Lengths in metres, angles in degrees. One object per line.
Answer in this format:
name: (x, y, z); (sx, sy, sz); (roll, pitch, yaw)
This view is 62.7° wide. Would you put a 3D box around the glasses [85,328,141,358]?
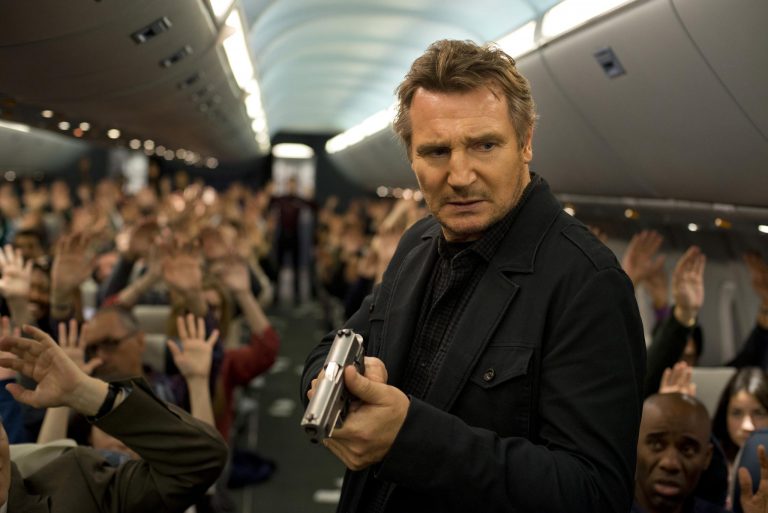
glasses: (-1.639, 0.516, 3.788); (0.064, 0.131, 0.286); (8, 33, 31)
